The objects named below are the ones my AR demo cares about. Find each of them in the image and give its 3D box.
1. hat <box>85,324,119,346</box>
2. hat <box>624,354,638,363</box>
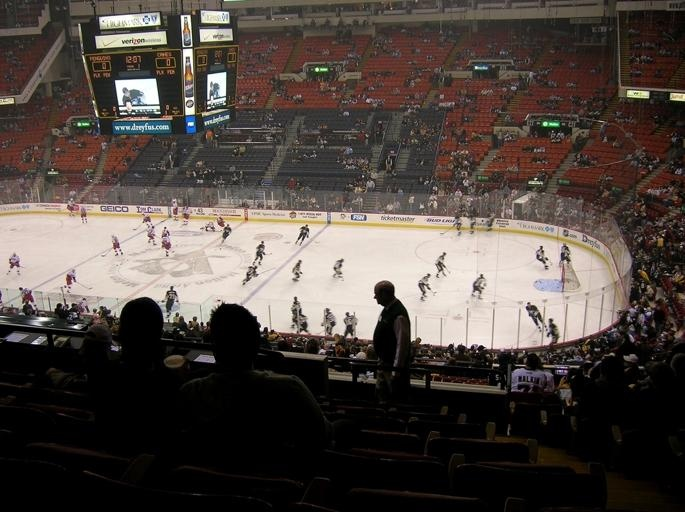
[{"bbox_3d":[-1.807,0.580,4.708,0.148,0.103,0.198,14,1,3],"label":"hat"},{"bbox_3d":[4.367,1.563,9.616,0.190,0.081,0.284,6,5,44],"label":"hat"}]
